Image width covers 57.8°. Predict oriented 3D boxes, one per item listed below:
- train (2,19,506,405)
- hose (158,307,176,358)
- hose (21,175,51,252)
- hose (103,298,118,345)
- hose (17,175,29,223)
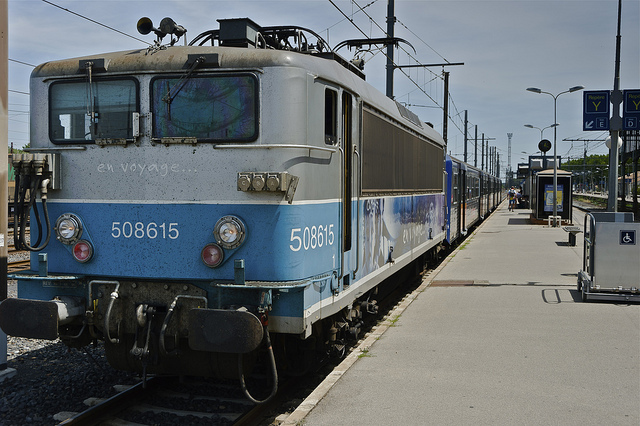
[{"bbox_3d":[0.208,-0.324,12.650,3.679,4.367,13.223,0,3,23],"label":"train"},{"bbox_3d":[-1.884,1.487,7.234,0.194,0.636,0.299,5,-8,-32],"label":"hose"},{"bbox_3d":[-3.580,-0.028,7.383,0.276,0.988,0.045,1,-7,-38],"label":"hose"},{"bbox_3d":[-2.625,1.376,7.345,0.177,0.595,0.317,4,-7,-20],"label":"hose"},{"bbox_3d":[-3.697,-0.234,7.282,0.070,0.521,0.163,3,-7,-15],"label":"hose"}]
